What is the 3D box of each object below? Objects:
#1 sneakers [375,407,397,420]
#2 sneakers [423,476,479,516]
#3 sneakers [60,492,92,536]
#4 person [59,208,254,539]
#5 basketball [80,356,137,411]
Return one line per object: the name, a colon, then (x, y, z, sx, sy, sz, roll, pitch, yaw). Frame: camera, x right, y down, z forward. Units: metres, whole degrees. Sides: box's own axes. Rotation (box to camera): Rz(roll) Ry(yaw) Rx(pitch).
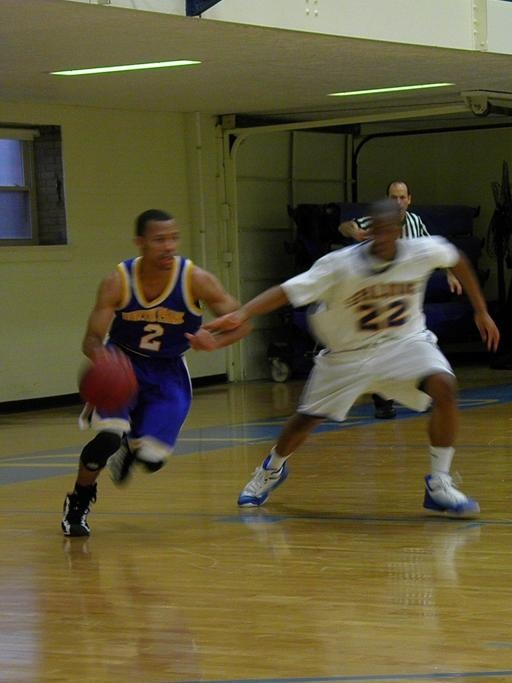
sneakers: (0.976, 0.544, 5.092, 0.156, 0.112, 0.070, -5, 11, 2)
sneakers: (0.732, 0.597, 2.639, 0.255, 0.132, 0.117, -2, -6, 35)
sneakers: (-0.673, 0.655, 2.511, 0.088, 0.128, 0.219, 2, 0, 3)
person: (-0.380, 0.150, 2.412, 0.653, 1.242, 0.506, -3, 10, -16)
basketball: (-0.470, 0.128, 2.140, 0.170, 0.197, 0.139, -4, 10, -23)
